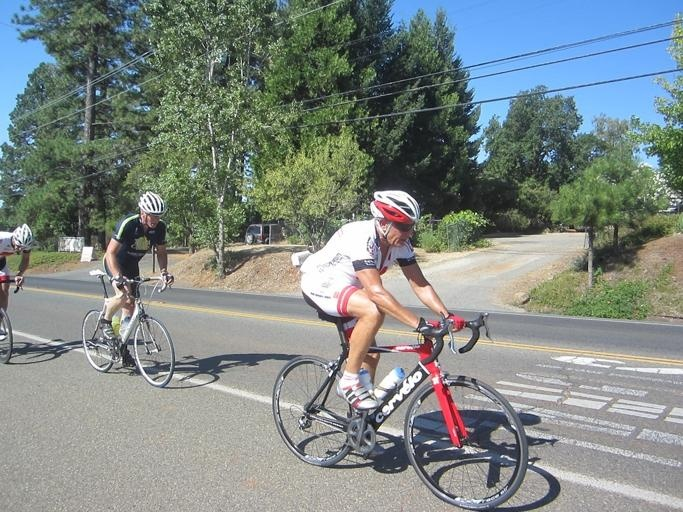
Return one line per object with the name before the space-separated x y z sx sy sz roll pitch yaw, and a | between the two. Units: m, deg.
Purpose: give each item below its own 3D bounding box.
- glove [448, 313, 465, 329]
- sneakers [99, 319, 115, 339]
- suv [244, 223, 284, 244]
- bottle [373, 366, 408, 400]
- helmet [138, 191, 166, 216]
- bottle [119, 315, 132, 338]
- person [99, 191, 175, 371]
glove | 1.142 0.648 5.976 0.157 0.077 0.112 12 -6 -38
sneakers | -3.592 1.108 9.266 0.096 0.296 0.126 -33 -10 -39
suv | -5.290 -1.564 40.698 2.187 1.325 1.275 2 2 15
bottle | 0.508 1.311 6.290 0.387 0.227 0.126 -43 -13 12
helmet | -2.732 -0.753 8.699 0.319 0.327 0.356 0 3 -23
bottle | -3.215 1.051 9.017 0.179 0.342 0.093 6 1 27
person | -3.041 0.163 8.976 1.200 2.186 0.788 1 2 3
